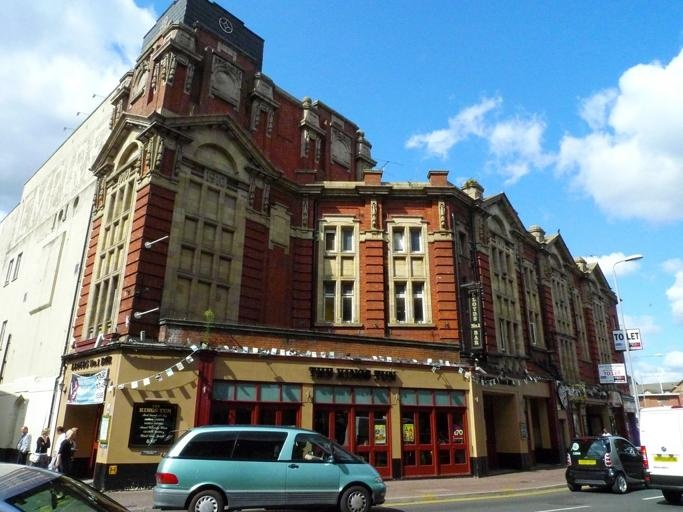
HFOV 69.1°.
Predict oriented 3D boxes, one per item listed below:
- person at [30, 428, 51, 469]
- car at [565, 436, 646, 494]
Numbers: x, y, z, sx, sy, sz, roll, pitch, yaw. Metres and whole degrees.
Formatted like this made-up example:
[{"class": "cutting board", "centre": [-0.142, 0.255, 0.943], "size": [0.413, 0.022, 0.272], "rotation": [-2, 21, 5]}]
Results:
[{"class": "person", "centre": [-11.476, 7.373, 19.150], "size": [0.601, 1.406, 0.578], "rotation": [4, 0, 5]}, {"class": "car", "centre": [11.060, 8.619, 20.674], "size": [2.901, 2.152, 1.437], "rotation": [4, -22, -13]}]
